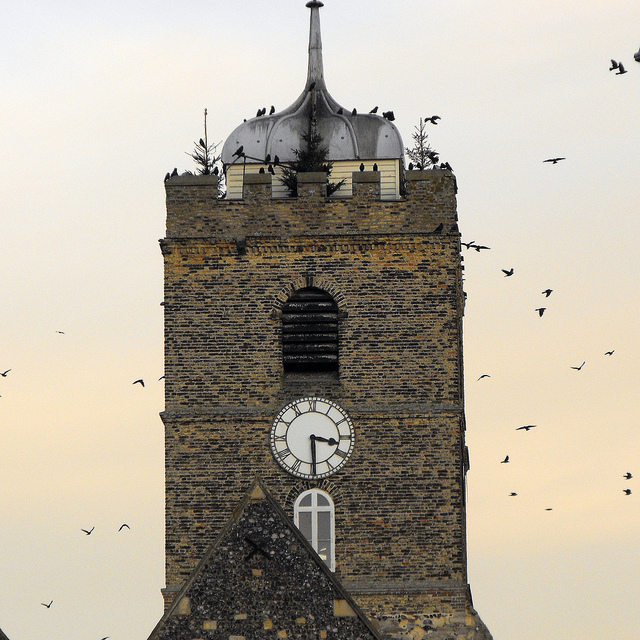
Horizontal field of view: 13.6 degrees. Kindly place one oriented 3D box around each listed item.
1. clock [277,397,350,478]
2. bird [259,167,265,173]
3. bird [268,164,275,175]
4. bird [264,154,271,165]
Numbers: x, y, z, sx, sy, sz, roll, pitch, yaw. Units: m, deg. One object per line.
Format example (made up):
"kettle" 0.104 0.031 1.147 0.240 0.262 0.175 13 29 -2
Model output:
"clock" -0.113 2.188 50.276 1.536 0.098 2.091 2 -51 -1
"bird" -1.103 -2.901 52.268 0.088 0.147 0.039 1 -1 12
"bird" -0.906 -2.878 51.751 0.074 0.157 0.237 -1 -22 7
"bird" -1.029 -3.108 52.770 0.083 0.191 0.205 4 -68 -7
